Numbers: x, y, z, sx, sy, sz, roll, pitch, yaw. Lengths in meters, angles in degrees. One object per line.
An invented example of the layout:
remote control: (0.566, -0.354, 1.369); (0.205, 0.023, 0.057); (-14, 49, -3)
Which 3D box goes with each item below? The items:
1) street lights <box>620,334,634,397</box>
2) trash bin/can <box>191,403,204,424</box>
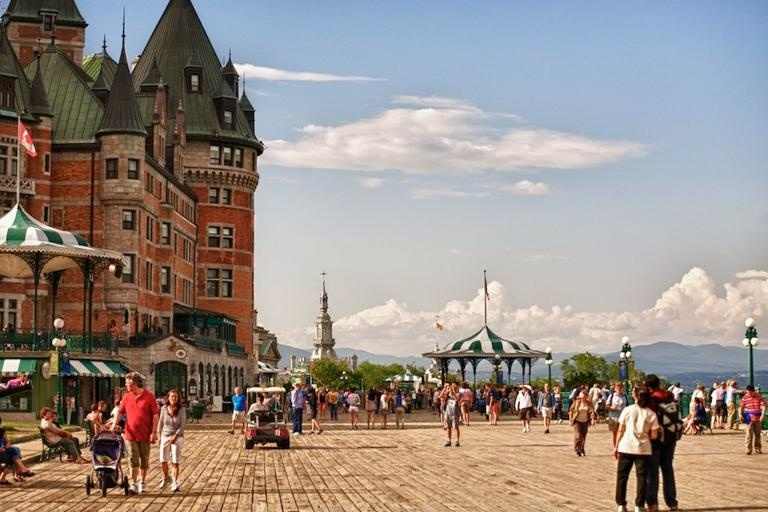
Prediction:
street lights: (13.894, 6.249, 75.633); (0.666, 2.845, 0.564); (-7, -22, 26)
trash bin/can: (-11.094, 9.197, 77.443); (1.055, 1.196, 1.180); (-2, -1, 1)
